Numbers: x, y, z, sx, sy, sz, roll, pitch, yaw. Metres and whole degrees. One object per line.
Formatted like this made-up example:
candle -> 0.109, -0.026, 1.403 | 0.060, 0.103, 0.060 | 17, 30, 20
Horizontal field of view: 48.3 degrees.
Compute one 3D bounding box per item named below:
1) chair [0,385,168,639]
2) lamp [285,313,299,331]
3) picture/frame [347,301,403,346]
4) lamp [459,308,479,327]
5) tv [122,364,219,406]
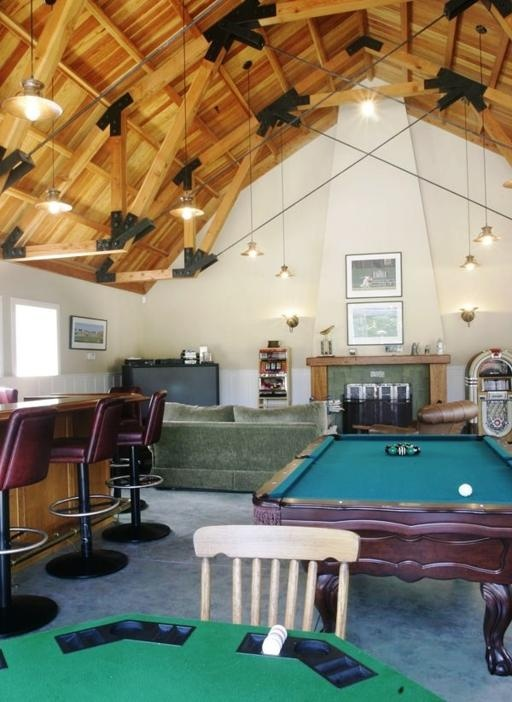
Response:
chair -> -1.121, 0.826, 3.756 | 0.753, 1.065, 1.756 | -2, -1, 11
lamp -> 0.669, -0.523, 10.482 | 0.254, 0.261, 0.197 | -2, -1, 1
picture/frame -> 2.112, -0.498, 9.965 | 0.834, 0.645, 0.029 | 0, -2, 9
lamp -> 3.615, -0.576, 9.676 | 0.263, 0.302, 0.101 | -1, 9, 13
tv -> -1.473, 0.528, 11.000 | 2.151, 0.693, 1.915 | 1, 2, -8
